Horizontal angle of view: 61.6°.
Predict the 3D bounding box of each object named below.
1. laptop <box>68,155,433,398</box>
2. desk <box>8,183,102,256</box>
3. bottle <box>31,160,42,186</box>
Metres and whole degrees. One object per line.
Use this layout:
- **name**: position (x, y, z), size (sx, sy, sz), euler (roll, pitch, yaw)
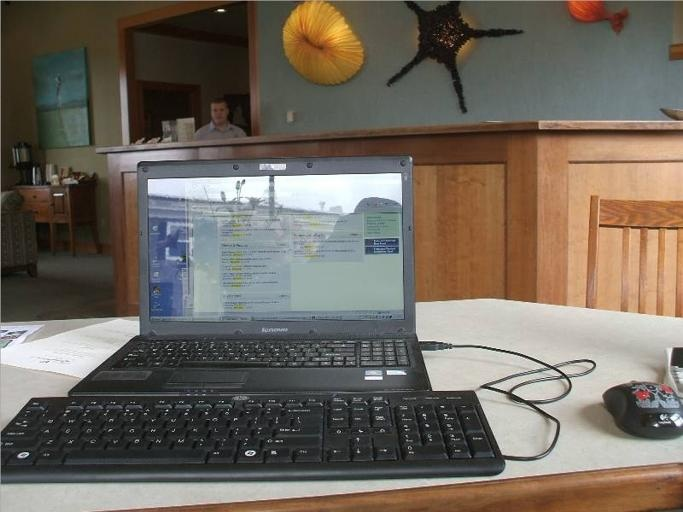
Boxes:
- **laptop**: position (-0.097, 0.074, 1.033), size (0.691, 0.319, 0.405), euler (0, 8, 3)
- **desk**: position (-3.261, -0.442, 6.548), size (1.205, 0.656, 0.402), euler (3, 6, 31)
- **bottle**: position (-3.908, -1.045, 7.299), size (0.135, 0.283, 0.622), euler (-8, 10, -27)
